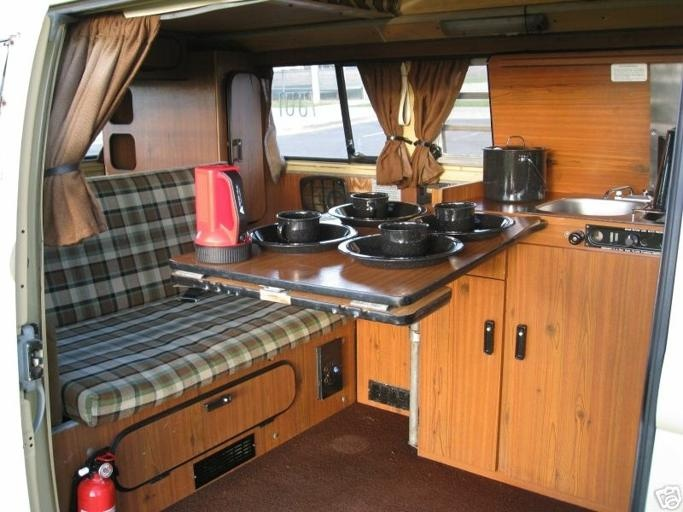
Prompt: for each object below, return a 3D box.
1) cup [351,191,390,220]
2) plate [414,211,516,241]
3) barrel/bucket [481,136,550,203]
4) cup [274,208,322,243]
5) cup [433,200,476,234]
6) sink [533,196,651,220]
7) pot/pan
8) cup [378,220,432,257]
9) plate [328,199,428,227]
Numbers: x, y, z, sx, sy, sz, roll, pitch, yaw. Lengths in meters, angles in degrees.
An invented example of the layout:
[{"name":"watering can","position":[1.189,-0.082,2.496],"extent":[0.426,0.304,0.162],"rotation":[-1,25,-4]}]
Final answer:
[{"name":"cup","position":[0.127,-0.246,2.383],"extent":[0.141,0.094,0.153],"rotation":[-2,21,1]},{"name":"plate","position":[0.572,-0.127,2.182],"extent":[0.233,0.025,0.209],"rotation":[-10,18,-22]},{"name":"barrel/bucket","position":[0.947,-0.468,2.878],"extent":[0.370,0.308,0.350],"rotation":[1,6,0]},{"name":"cup","position":[-0.175,-0.110,2.027],"extent":[0.151,0.111,0.197],"rotation":[17,27,39]},{"name":"cup","position":[0.466,-0.168,2.169],"extent":[0.154,0.080,0.139],"rotation":[2,20,14]},{"name":"sink","position":[1.314,-0.256,2.741],"extent":[0.336,0.114,0.270],"rotation":[10,28,32]},{"name":"pot/pan","position":[0.957,-0.471,2.790],"extent":[0.373,0.294,0.337],"rotation":[-12,16,-41]},{"name":"cup","position":[0.232,-0.044,1.872],"extent":[0.196,0.104,0.178],"rotation":[-3,7,-2]},{"name":"plate","position":[0.177,-0.194,2.384],"extent":[0.250,0.030,0.218],"rotation":[-8,19,-20]}]
